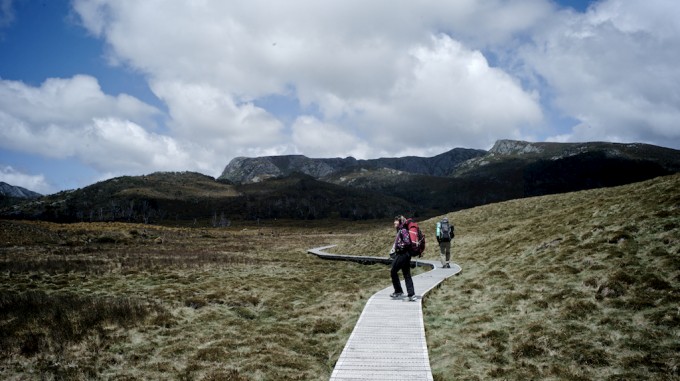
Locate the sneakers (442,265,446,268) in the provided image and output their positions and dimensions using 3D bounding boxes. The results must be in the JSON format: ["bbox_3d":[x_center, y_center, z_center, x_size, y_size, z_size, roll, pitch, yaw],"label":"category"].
[{"bbox_3d":[8.052,5.808,33.347,0.201,0.340,0.192,-5,-49,9],"label":"sneakers"}]
